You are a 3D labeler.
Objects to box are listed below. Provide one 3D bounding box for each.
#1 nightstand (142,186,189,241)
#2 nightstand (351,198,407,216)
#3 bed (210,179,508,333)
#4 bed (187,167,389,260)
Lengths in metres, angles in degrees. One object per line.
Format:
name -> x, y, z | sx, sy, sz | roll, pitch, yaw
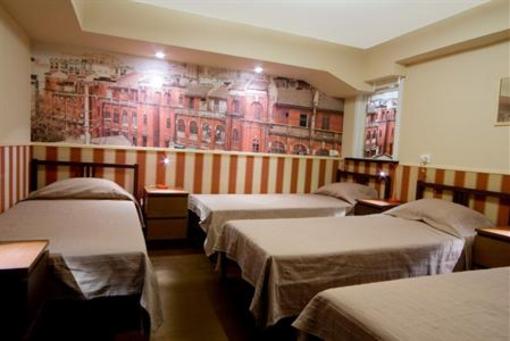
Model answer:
nightstand -> -1.256, 0.613, 5.035 | 0.669, 0.714, 0.716 | 1, -3, -18
nightstand -> 1.766, 0.511, 4.888 | 0.377, 0.219, 0.369 | -1, 2, -18
bed -> 1.138, 0.796, 3.657 | 2.479, 0.851, 1.485 | -1, 1, -13
bed -> 0.454, 0.424, 5.097 | 2.371, 0.912, 1.356 | -2, 5, -16
